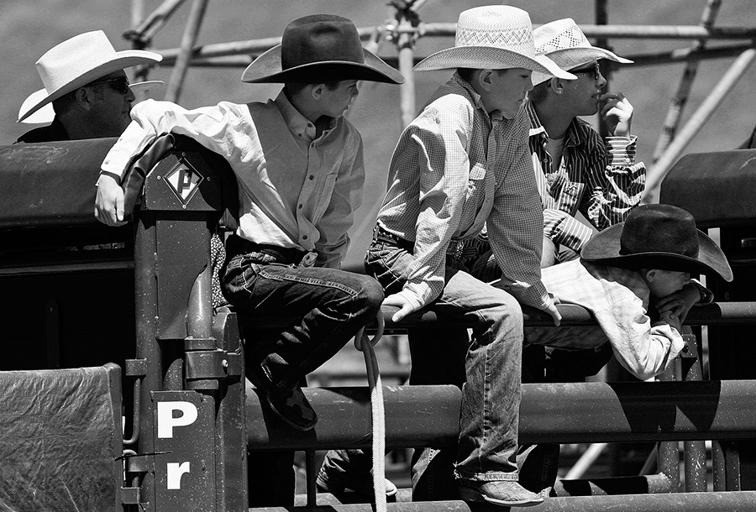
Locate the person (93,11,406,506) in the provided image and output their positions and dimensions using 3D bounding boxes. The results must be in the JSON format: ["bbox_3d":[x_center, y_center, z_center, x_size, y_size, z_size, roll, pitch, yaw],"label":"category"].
[{"bbox_3d":[-0.559,-0.167,8.788,1.221,1.898,0.562,4,-8,-14],"label":"person"}]

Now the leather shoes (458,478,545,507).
[{"bbox_3d":[0.545,1.078,8.786,0.341,0.103,0.143,0,-5,11],"label":"leather shoes"}]

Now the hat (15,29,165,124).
[{"bbox_3d":[-1.592,-0.917,9.718,0.795,0.280,0.610,-25,7,14],"label":"hat"}]

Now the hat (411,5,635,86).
[{"bbox_3d":[0.564,-1.010,9.244,0.655,0.225,0.458,2,-3,-8],"label":"hat"}]

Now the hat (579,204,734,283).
[{"bbox_3d":[1.357,-0.071,9.304,0.579,0.191,0.436,12,10,6],"label":"hat"}]

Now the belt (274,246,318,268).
[{"bbox_3d":[-0.375,0.002,8.884,0.133,0.054,0.094,7,-4,21],"label":"belt"}]

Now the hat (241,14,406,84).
[{"bbox_3d":[-0.261,-0.923,8.835,0.592,0.189,0.428,-1,4,-3],"label":"hat"}]
